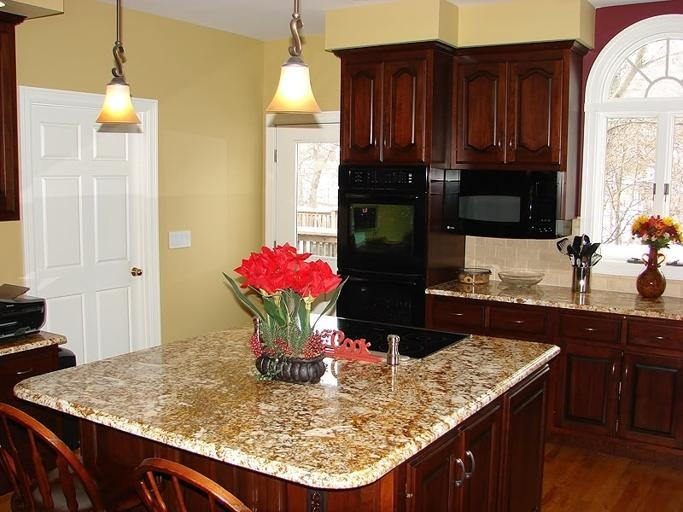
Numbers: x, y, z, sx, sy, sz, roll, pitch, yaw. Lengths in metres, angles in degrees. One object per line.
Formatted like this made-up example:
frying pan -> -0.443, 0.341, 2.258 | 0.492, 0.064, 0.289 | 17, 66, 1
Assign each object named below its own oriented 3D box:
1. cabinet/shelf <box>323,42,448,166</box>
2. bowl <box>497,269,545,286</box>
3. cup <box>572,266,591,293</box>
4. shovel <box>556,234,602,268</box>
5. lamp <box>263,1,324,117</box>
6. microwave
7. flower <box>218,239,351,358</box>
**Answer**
cabinet/shelf -> 0.416, -1.237, 4.495 | 0.934, 0.960, 0.361 | 3, 9, 18
bowl -> 1.535, 0.197, 4.642 | 0.389, 0.114, 0.326 | 4, 8, 22
cup -> 1.911, 0.185, 4.317 | 0.141, 0.217, 0.131 | 1, 9, 0
shovel -> 1.931, -0.036, 4.395 | 0.314, 0.267, 0.422 | 5, 9, 25
lamp -> -0.212, -0.882, 2.398 | 0.227, 0.510, 0.386 | 0, 9, -5
microwave -> 1.409, -0.411, 4.567 | 1.005, 0.597, 0.597 | 2, 4, 24
flower -> -0.230, 0.170, 2.388 | 0.645, 0.520, 0.576 | 0, 6, 2
